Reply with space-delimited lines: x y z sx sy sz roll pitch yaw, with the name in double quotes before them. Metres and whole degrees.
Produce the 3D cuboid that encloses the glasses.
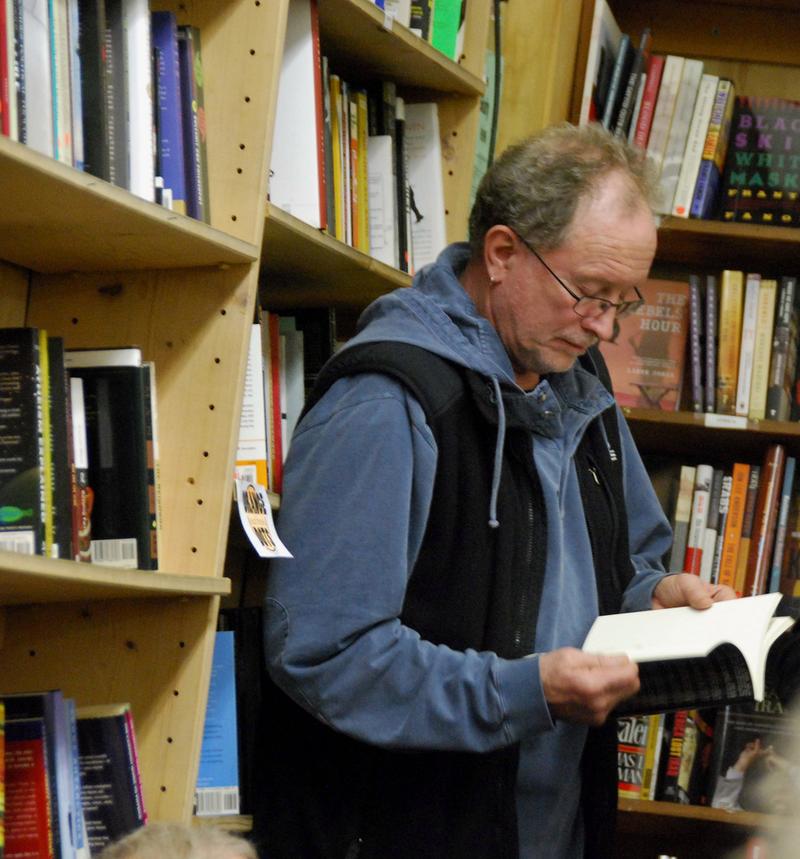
"glasses" 0.251 -0.216 1.451 0.046 0.175 0.162 -31 -10 23
